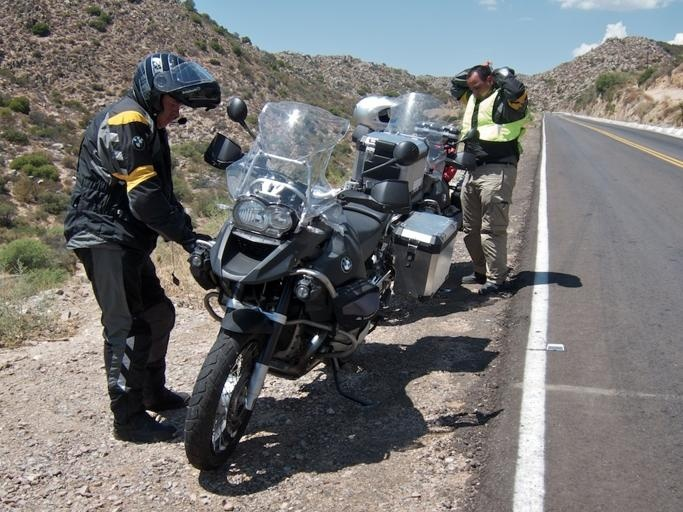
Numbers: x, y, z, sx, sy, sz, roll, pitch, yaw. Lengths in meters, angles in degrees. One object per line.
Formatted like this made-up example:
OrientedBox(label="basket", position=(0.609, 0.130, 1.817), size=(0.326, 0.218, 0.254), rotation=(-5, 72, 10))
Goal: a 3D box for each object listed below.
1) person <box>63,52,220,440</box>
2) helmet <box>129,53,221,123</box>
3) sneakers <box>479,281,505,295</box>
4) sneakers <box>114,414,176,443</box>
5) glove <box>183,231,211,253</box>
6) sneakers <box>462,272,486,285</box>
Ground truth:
OrientedBox(label="person", position=(-1.622, -0.066, 4.422), size=(1.013, 2.996, 1.155), rotation=(11, 22, 18))
OrientedBox(label="helmet", position=(-1.299, -1.318, 4.301), size=(0.688, 0.453, 0.493), rotation=(-2, 23, -2))
OrientedBox(label="sneakers", position=(1.912, 0.404, 6.998), size=(0.416, 0.145, 0.127), rotation=(-6, 7, -14))
OrientedBox(label="sneakers", position=(-1.560, 1.398, 4.430), size=(0.445, 0.158, 0.220), rotation=(0, 5, -2))
OrientedBox(label="glove", position=(-1.137, -0.106, 4.458), size=(0.133, 0.129, 0.257), rotation=(-4, 2, 19))
OrientedBox(label="sneakers", position=(1.803, 0.309, 7.466), size=(0.396, 0.146, 0.130), rotation=(2, 9, 3))
